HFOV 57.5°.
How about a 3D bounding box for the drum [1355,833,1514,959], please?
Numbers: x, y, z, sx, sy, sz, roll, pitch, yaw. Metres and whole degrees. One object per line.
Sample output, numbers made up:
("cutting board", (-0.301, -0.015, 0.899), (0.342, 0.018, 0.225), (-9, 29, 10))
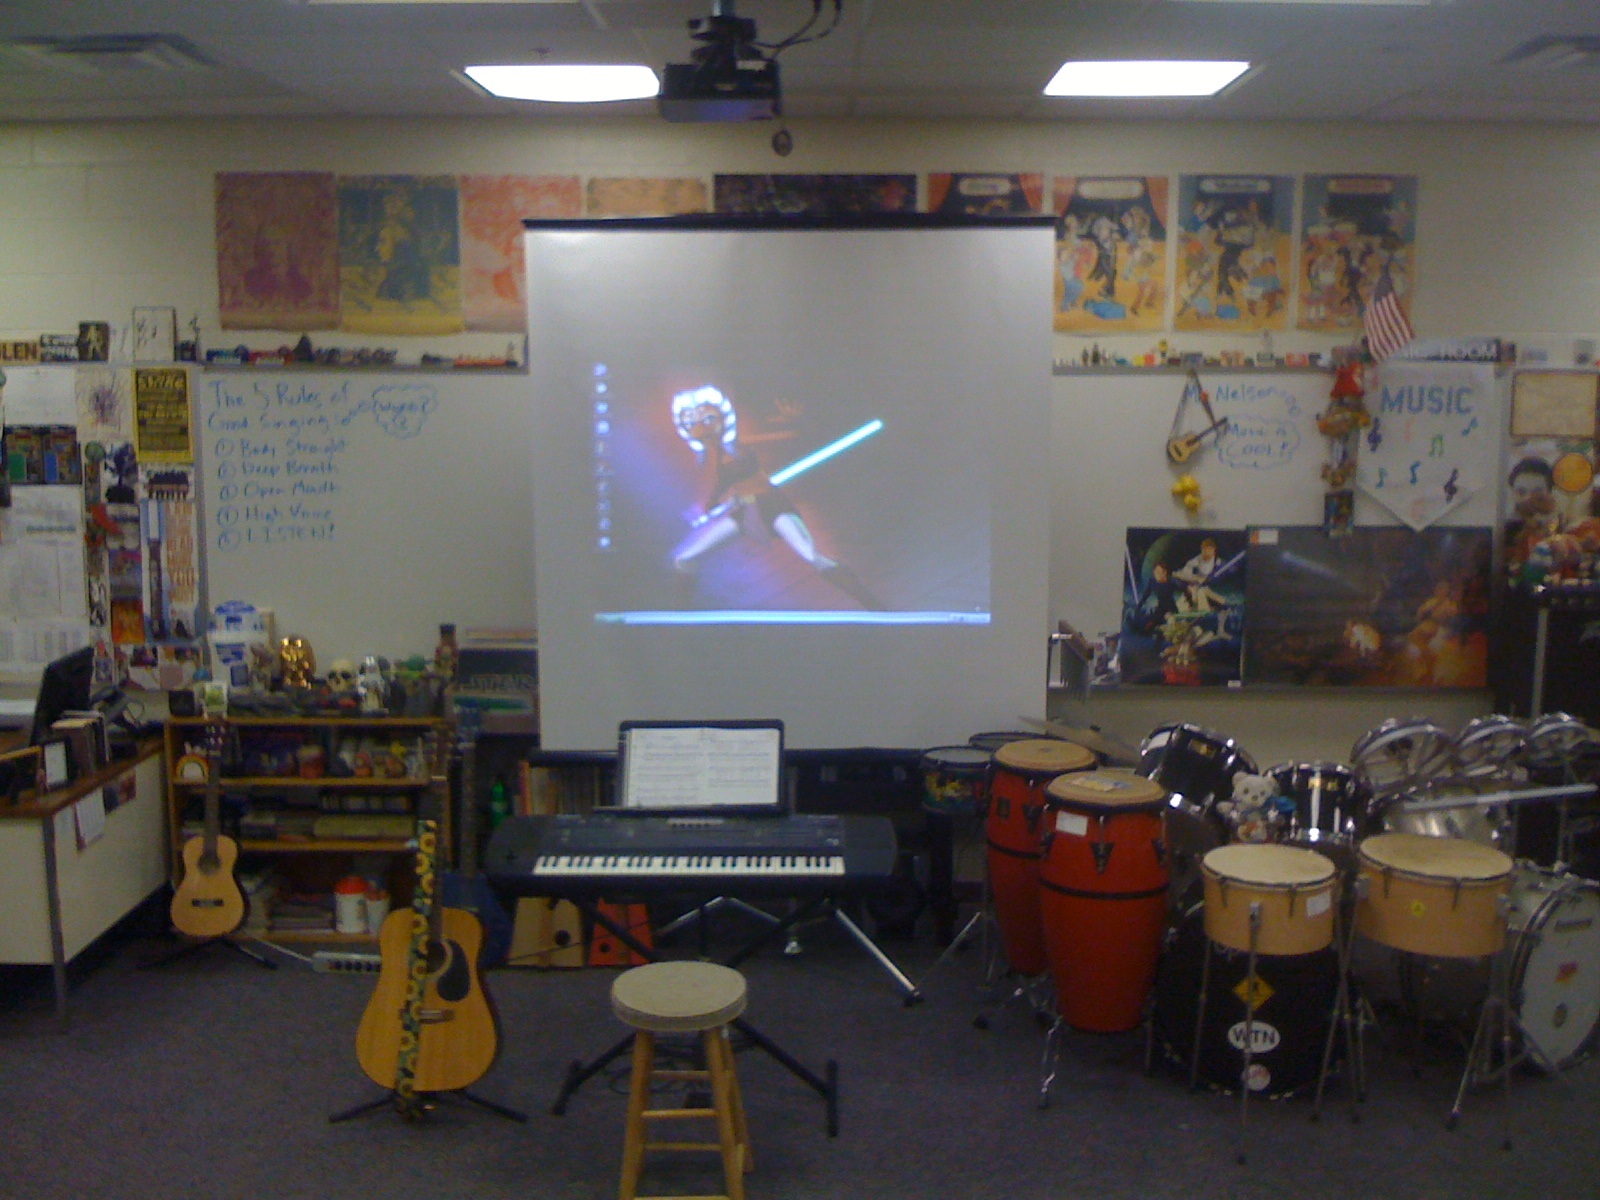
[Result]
("drum", (2.419, 1.128, 5.702), (0.479, 0.293, 0.478), (-1, 11, 0))

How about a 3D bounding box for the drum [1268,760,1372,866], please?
("drum", (2.165, 0.905, 6.163), (0.409, 0.398, 0.377), (1, -8, 13))

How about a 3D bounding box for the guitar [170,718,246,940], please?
("guitar", (-2.842, 1.092, 6.945), (0.341, 1.058, 0.482), (-5, 10, -24))

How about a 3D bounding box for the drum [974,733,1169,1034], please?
("drum", (1.158, 1.186, 6.100), (0.726, 1.169, 1.194), (-1, 3, -20))

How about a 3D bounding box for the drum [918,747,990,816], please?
("drum", (0.689, 0.809, 6.558), (0.280, 0.197, 0.281), (0, 1, 0))

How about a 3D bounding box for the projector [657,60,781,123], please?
("projector", (-0.308, -1.982, 5.688), (0.376, 0.133, 0.356), (0, 5, 2))

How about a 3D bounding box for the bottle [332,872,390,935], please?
("bottle", (-2.138, 1.499, 7.252), (0.211, 0.306, 0.357), (1, -4, -12))

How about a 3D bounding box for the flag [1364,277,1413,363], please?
("flag", (2.879, -1.368, 7.129), (0.257, 0.386, 0.143), (0, 9, 4))

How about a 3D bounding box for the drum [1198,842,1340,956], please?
("drum", (1.817, 1.182, 5.673), (0.496, 0.392, 0.333), (-3, 9, -13))

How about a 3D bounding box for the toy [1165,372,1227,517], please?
("toy", (1.950, -0.759, 7.179), (0.304, 0.716, 0.092), (-4, 10, -17))

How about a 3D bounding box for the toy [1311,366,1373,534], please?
("toy", (2.653, -0.760, 7.163), (0.241, 0.859, 0.144), (0, 9, 8))

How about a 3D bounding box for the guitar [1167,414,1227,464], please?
("guitar", (1.939, -0.791, 7.162), (0.293, 0.177, 0.071), (-38, -14, -9))

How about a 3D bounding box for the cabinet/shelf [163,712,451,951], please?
("cabinet/shelf", (-2.360, 1.070, 6.950), (1.125, 0.924, 0.330), (0, -2, -3))

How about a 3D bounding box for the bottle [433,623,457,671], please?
("bottle", (-1.741, 0.233, 7.195), (0.118, 0.234, 0.125), (-1, 9, 0))
